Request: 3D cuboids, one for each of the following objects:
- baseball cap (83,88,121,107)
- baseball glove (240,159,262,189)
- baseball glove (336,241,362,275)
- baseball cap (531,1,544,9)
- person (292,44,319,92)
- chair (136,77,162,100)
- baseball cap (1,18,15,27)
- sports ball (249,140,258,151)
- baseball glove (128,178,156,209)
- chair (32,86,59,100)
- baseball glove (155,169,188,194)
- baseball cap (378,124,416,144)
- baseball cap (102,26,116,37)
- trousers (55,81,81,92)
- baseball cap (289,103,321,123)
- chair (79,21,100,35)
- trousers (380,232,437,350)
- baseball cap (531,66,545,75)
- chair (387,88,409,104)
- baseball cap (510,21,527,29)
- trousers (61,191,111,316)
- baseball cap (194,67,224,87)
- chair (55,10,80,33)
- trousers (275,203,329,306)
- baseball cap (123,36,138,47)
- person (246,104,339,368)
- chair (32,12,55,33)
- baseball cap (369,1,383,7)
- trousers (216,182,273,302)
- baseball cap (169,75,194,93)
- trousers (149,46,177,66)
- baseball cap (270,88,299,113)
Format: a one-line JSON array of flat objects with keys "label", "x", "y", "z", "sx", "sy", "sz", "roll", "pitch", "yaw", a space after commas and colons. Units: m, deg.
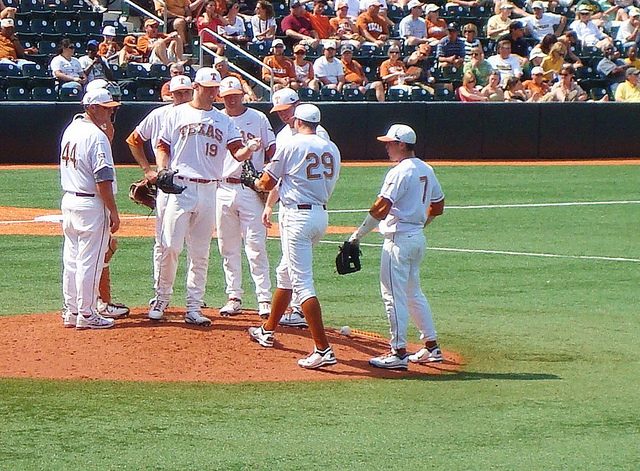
[{"label": "baseball cap", "x": -2.487, "y": -1.563, "z": 14.047, "sx": 0.341, "sy": 0.116, "sz": 0.211, "roll": 2, "pitch": 12, "yaw": -9}, {"label": "baseball glove", "x": -0.841, "y": -0.743, "z": 14.590, "sx": 0.260, "sy": 0.311, "sz": 0.145, "roll": 31, "pitch": -47, "yaw": -26}, {"label": "baseball glove", "x": 0.349, "y": 0.246, "z": 14.028, "sx": 0.248, "sy": 0.362, "sz": 0.293, "roll": 7, "pitch": -31, "yaw": -35}, {"label": "baseball cap", "x": 5.309, "y": -5.635, "z": 30.270, "sx": 0.289, "sy": 0.128, "sz": 0.405, "roll": 3, "pitch": 6, "yaw": 23}, {"label": "person", "x": -0.292, "y": -3.502, "z": 26.042, "sx": 0.555, "sy": 0.954, "sz": 0.838, "roll": 0, "pitch": 5, "yaw": -1}, {"label": "chair", "x": -3.415, "y": -3.002, "z": 25.241, "sx": 0.541, "sy": 0.536, "sz": 0.536, "roll": -2, "pitch": 8, "yaw": -23}, {"label": "baseball cap", "x": -6.187, "y": -4.227, "z": 24.631, "sx": 0.217, "sy": 0.171, "sz": 0.246, "roll": -1, "pitch": 1, "yaw": -9}, {"label": "sports ball", "x": -0.755, "y": -1.032, "z": 14.138, "sx": 0.126, "sy": 0.075, "sz": 0.114, "roll": 2, "pitch": 1, "yaw": -11}, {"label": "baseball glove", "x": -2.071, "y": -0.495, "z": 14.573, "sx": 0.291, "sy": 0.347, "sz": 0.383, "roll": -1, "pitch": 5, "yaw": -7}, {"label": "chair", "x": -5.363, "y": -2.796, "z": 24.358, "sx": 0.432, "sy": 0.232, "sz": 0.282, "roll": -4, "pitch": 7, "yaw": -40}, {"label": "baseball glove", "x": -1.712, "y": -0.606, "z": 14.126, "sx": 0.348, "sy": 0.211, "sz": 0.218, "roll": 7, "pitch": -9, "yaw": -17}, {"label": "baseball cap", "x": 0.868, "y": -1.133, "z": 13.756, "sx": 0.360, "sy": 0.141, "sz": 0.223, "roll": 1, "pitch": 3, "yaw": 0}, {"label": "baseball cap", "x": -4.378, "y": -4.258, "z": 25.868, "sx": 0.263, "sy": 0.152, "sz": 0.330, "roll": -1, "pitch": 14, "yaw": -21}, {"label": "trousers", "x": -4.976, "y": -2.926, "z": 24.322, "sx": 0.571, "sy": 0.201, "sz": 0.229, "roll": 3, "pitch": 6, "yaw": 33}, {"label": "baseball cap", "x": -0.138, "y": -1.362, "z": 13.791, "sx": 0.265, "sy": 0.202, "sz": 0.194, "roll": 0, "pitch": 5, "yaw": -4}, {"label": "chair", "x": -4.914, "y": -4.459, "z": 26.620, "sx": 0.421, "sy": 0.243, "sz": 0.376, "roll": 2, "pitch": 8, "yaw": 6}, {"label": "trousers", "x": 0.970, "y": 0.598, "z": 13.827, "sx": 0.600, "sy": 1.282, "sz": 0.280, "roll": -3, "pitch": 6, "yaw": -28}, {"label": "baseball cap", "x": 4.794, "y": -3.635, "z": 27.266, "sx": 0.239, "sy": 0.264, "sz": 0.306, "roll": -2, "pitch": 13, "yaw": -27}, {"label": "chair", "x": 1.661, "y": -2.994, "z": 26.407, "sx": 0.472, "sy": 0.231, "sz": 0.418, "roll": 2, "pitch": 11, "yaw": 11}, {"label": "baseball cap", "x": 4.630, "y": -4.869, "z": 28.608, "sx": 0.524, "sy": 0.137, "sz": 0.323, "roll": -9, "pitch": 17, "yaw": -33}, {"label": "trousers", "x": -2.659, "y": 0.187, "z": 14.115, "sx": 0.566, "sy": 1.401, "sz": 0.358, "roll": 0, "pitch": 6, "yaw": -4}, {"label": "baseball cap", "x": -1.284, "y": -1.829, "z": 14.280, "sx": 0.239, "sy": 0.146, "sz": 0.313, "roll": -4, "pitch": 15, "yaw": -31}, {"label": "chair", "x": -5.408, "y": -4.563, "z": 26.524, "sx": 0.556, "sy": 0.555, "sz": 0.481, "roll": 4, "pitch": 31, "yaw": -5}, {"label": "trousers", "x": -0.168, "y": 0.176, "z": 13.690, "sx": 0.487, "sy": 1.084, "sz": 0.445, "roll": 0, "pitch": 6, "yaw": -1}, {"label": "baseball cap", "x": -4.019, "y": -4.082, "z": 26.111, "sx": 0.363, "sy": 0.143, "sz": 0.242, "roll": 0, "pitch": 7, "yaw": 28}, {"label": "person", "x": -0.270, "y": -0.029, "z": 13.964, "sx": 0.962, "sy": 2.888, "sz": 1.113, "roll": 0, "pitch": 6, "yaw": 1}, {"label": "chair", "x": -5.825, "y": -4.496, "z": 26.209, "sx": 0.458, "sy": 0.477, "sz": 0.780, "roll": -1, "pitch": 5, "yaw": -12}, {"label": "baseball cap", "x": 1.253, "y": -5.325, "z": 28.398, "sx": 0.333, "sy": 0.087, "sz": 0.204, "roll": 5, "pitch": 5, "yaw": 45}, {"label": "trousers", "x": -0.904, "y": 0.056, "z": 14.850, "sx": 0.660, "sy": 1.418, "sz": 0.364, "roll": 0, "pitch": 6, "yaw": -4}, {"label": "baseball cap", "x": -1.637, "y": -1.795, "z": 14.578, "sx": 0.215, "sy": 0.248, "sz": 0.279, "roll": 2, "pitch": 12, "yaw": -8}, {"label": "trousers", "x": -3.339, "y": -3.736, "z": 25.692, "sx": 0.556, "sy": 0.384, "sz": 0.507, "roll": 2, "pitch": 6, "yaw": 23}, {"label": "baseball cap", "x": -0.374, "y": -1.575, "z": 14.432, "sx": 0.257, "sy": 0.164, "sz": 0.367, "roll": 0, "pitch": 18, "yaw": 46}]
